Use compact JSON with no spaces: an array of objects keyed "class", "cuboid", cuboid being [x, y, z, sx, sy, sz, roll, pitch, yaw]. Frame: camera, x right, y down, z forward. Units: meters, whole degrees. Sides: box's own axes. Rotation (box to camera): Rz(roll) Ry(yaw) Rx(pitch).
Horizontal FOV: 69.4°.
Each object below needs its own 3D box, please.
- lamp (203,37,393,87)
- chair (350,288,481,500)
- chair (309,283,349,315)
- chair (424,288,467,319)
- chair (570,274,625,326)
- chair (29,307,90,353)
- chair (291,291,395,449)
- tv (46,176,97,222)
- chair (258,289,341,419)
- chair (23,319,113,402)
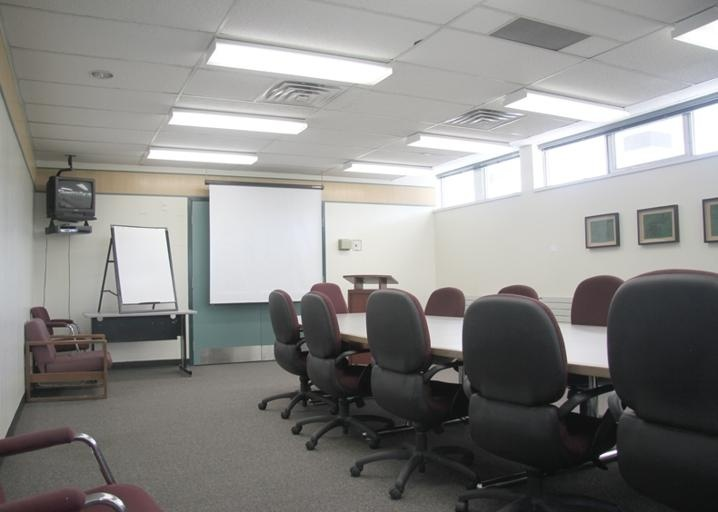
[{"class":"lamp","cuboid":[-0.499,-1.641,4.437,1.537,0.108,0.379,-1,0,-18]},{"class":"chair","cuboid":[0.249,0.892,4.092,1.128,1.635,1.106,2,-3,-33]},{"class":"chair","cuboid":[-0.322,0.528,6.260,0.328,0.490,0.386,3,-9,-27]},{"class":"chair","cuboid":[0.941,0.503,5.515,0.303,0.432,0.345,-1,-6,34]},{"class":"chair","cuboid":[2.086,0.354,4.754,0.570,0.583,0.492,0,-3,42]},{"class":"chair","cuboid":[-3.835,0.947,6.680,0.660,0.707,0.523,0,-2,-23]},{"class":"chair","cuboid":[-0.071,0.925,4.838,1.054,1.522,1.139,2,-4,-22]},{"class":"tv","cuboid":[-3.750,-0.710,6.845,0.549,0.598,0.578,3,-4,-42]},{"class":"chair","cuboid":[-0.520,0.964,5.556,1.047,1.530,1.122,2,-4,-24]},{"class":"chair","cuboid":[-3.431,1.249,6.054,0.927,0.892,1.038,0,0,-22]}]
